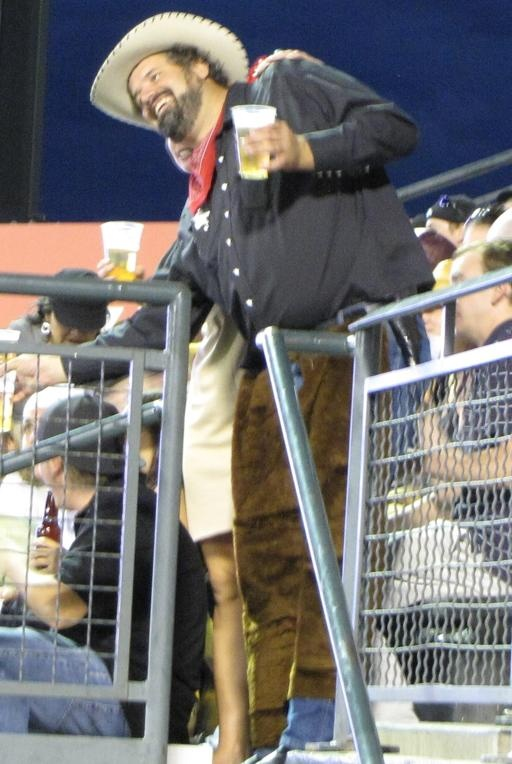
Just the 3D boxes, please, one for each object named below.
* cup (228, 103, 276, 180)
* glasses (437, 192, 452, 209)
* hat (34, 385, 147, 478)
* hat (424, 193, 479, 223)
[{"bbox_3d":[-0.009,-0.479,3.669,0.086,0.146,0.158,2,-1,-1],"label":"cup"},{"bbox_3d":[0.480,-0.458,4.684,0.035,0.024,0.052,-24,23,19],"label":"glasses"},{"bbox_3d":[-0.332,0.098,3.502,0.126,0.204,0.097,-6,14,-7],"label":"hat"},{"bbox_3d":[0.491,-0.438,4.625,0.083,0.085,0.100,-16,0,28],"label":"hat"}]
